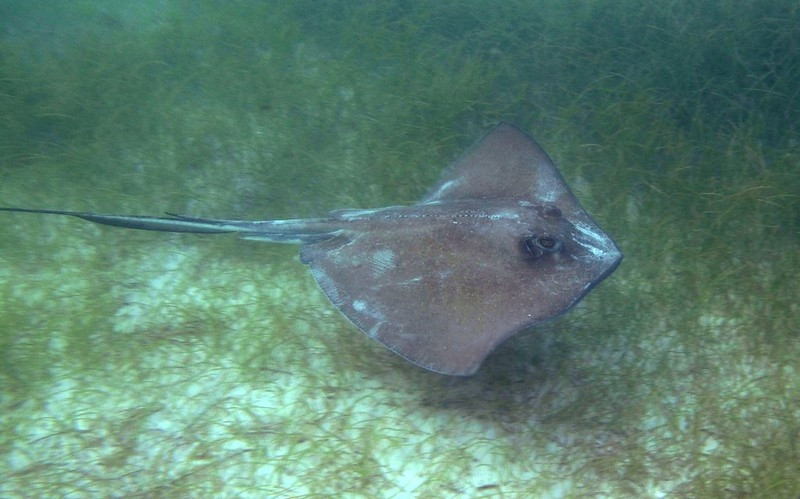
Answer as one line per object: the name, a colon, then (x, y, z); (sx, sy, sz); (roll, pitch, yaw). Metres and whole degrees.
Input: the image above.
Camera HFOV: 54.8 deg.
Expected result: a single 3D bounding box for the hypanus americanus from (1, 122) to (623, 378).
hypanus americanus: (-1.184, 0.108, 9.056); (8.955, 3.349, 2.783); (0, 86, 29)
